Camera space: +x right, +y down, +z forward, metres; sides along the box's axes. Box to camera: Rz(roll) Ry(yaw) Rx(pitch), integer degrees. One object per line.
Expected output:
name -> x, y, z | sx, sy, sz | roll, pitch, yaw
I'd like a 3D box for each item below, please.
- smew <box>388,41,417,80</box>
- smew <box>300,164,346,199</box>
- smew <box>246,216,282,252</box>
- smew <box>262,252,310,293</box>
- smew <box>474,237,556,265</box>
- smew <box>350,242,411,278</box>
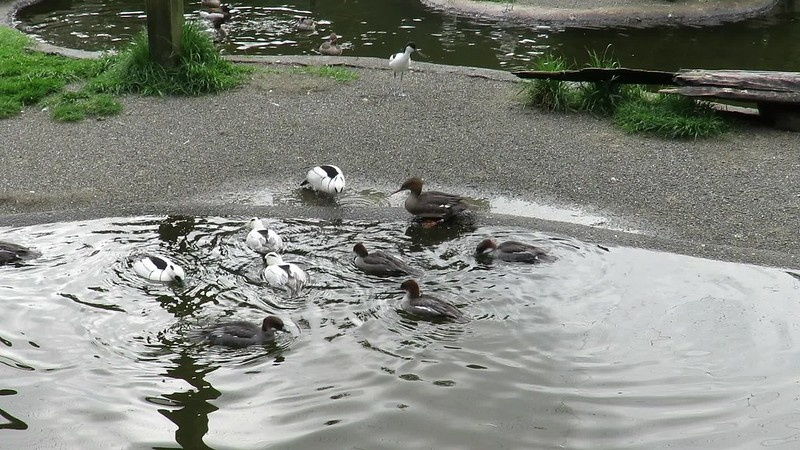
smew -> 0.005, -3.982, 18.776 | 0.581, 0.919, 0.648 | 1, 38, -1
smew -> -1.383, -0.871, 14.697 | 0.919, 0.331, 0.583 | 9, 17, 40
smew -> -2.378, 0.122, 13.469 | 0.581, 0.341, 0.828 | -20, 49, -14
smew -> -1.978, 0.743, 12.809 | 0.613, 0.352, 0.936 | -12, 39, -35
smew -> 1.821, 0.435, 13.120 | 1.431, 0.403, 0.403 | 0, 27, 16
smew -> -0.373, 0.619, 12.970 | 1.078, 0.361, 0.385 | 14, 38, 21
